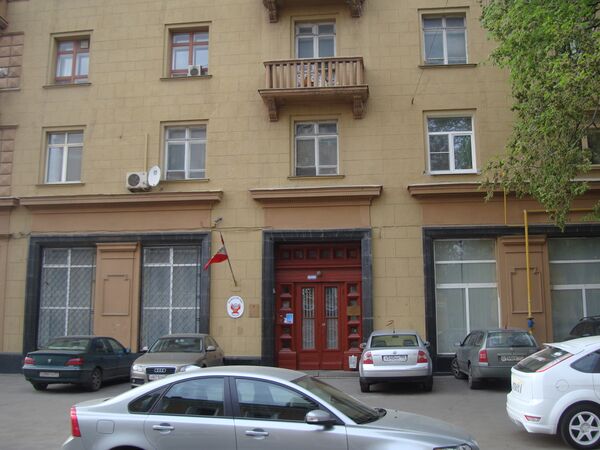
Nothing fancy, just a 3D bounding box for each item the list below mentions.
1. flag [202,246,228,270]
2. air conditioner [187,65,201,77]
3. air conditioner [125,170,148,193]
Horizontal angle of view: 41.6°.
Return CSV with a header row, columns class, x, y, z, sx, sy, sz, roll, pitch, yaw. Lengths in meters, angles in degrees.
class,x,y,z,sx,sy,sz,roll,pitch,yaw
flag,-2.982,1.193,27.461,0.816,0.822,0.119,4,1,11
air conditioner,-3.866,-5.616,28.793,0.456,0.480,0.240,1,-10,-6
air conditioner,-5.774,-1.536,28.194,1.022,0.848,0.632,-2,-13,4
